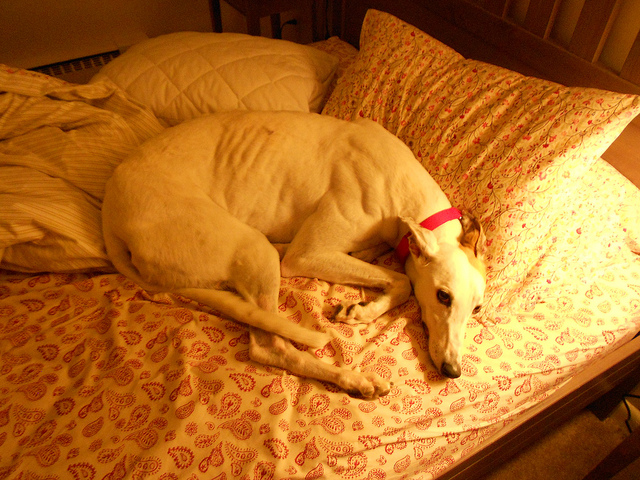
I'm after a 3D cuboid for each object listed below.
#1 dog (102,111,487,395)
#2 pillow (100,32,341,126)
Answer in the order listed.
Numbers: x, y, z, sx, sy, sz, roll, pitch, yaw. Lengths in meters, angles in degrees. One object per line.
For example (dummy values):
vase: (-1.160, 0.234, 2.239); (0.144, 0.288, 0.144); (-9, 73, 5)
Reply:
dog: (-0.081, 0.006, 1.877); (1.323, 0.455, 0.992); (27, 38, 12)
pillow: (-0.538, -0.897, 2.658); (1.262, 0.296, 0.608); (0, 50, 0)
